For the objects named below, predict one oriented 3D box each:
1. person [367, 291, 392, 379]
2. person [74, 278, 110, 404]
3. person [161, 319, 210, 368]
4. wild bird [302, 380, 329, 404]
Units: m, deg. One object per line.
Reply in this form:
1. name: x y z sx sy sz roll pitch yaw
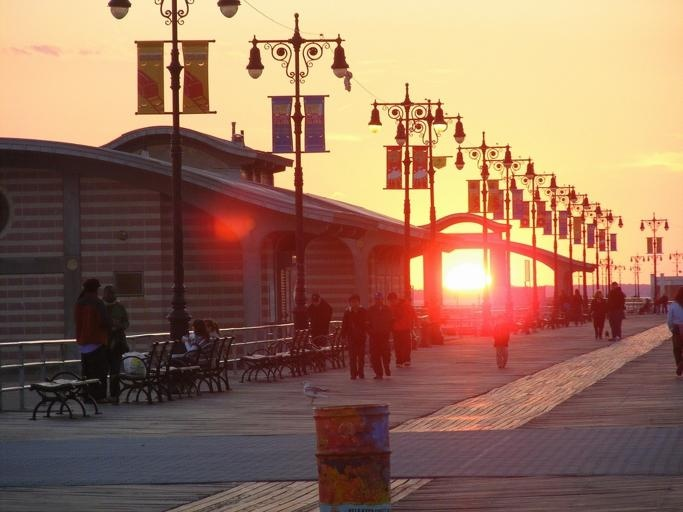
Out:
1. person: 0.926 2.113 31.011 0.548 1.880 1.206 -3 -7 11
2. person: -4.794 1.424 24.273 0.627 1.962 0.574 0 -7 -11
3. person: -3.223 1.896 27.149 0.825 1.025 1.869 -1 -7 -5
4. wild bird: -0.501 2.486 22.861 0.435 0.499 0.824 -3 -7 27
